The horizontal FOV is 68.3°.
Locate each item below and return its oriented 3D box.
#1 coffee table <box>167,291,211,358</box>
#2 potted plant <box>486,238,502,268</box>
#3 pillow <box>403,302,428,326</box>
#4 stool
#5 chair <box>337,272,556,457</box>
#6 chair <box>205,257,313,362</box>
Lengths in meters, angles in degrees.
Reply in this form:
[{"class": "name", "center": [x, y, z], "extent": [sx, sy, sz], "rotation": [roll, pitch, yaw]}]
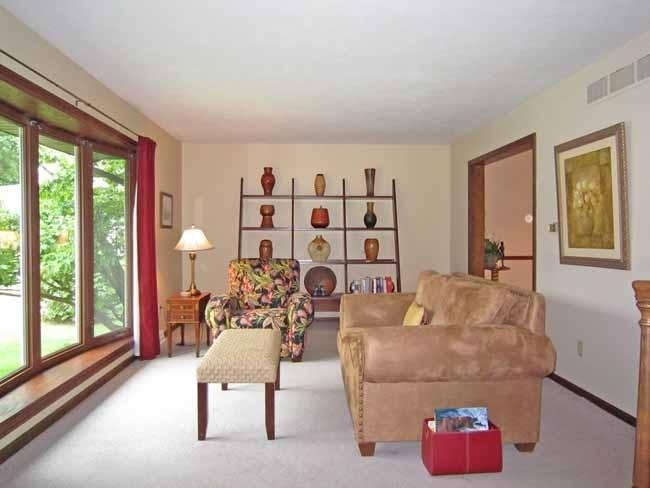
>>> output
[{"class": "coffee table", "center": [-1.575, 0.870, 5.551], "extent": [0.467, 0.843, 0.812], "rotation": [0, -1, -2]}, {"class": "potted plant", "center": [2.576, 0.109, 7.275], "extent": [0.222, 0.412, 0.694], "rotation": [5, 11, 28]}, {"class": "pillow", "center": [0.763, 0.590, 4.017], "extent": [0.053, 0.123, 0.202], "rotation": [18, -4, -5]}, {"class": "stool", "center": [-0.662, 0.896, 3.771], "extent": [0.554, 0.552, 1.069], "rotation": [1, 0, -1]}, {"class": "chair", "center": [0.838, 0.805, 3.845], "extent": [1.389, 1.169, 1.345], "rotation": [0, 10, 0]}, {"class": "chair", "center": [-0.707, 0.639, 5.463], "extent": [1.213, 1.289, 0.998], "rotation": [0, -9, -1]}]
